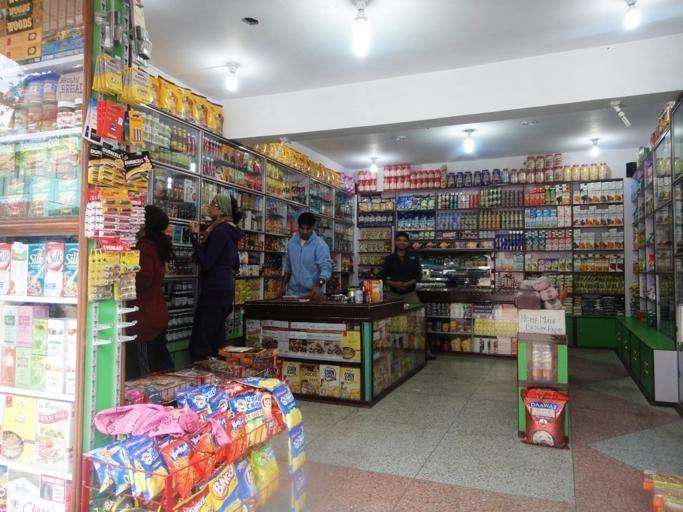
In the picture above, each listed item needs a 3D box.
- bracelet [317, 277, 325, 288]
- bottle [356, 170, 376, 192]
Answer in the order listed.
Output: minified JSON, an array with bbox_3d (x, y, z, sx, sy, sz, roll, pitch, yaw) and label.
[{"bbox_3d":[-0.255,0.318,5.794,0.099,0.116,0.101,4,5,40],"label":"bracelet"},{"bbox_3d":[0.530,-1.614,10.355,0.429,0.420,0.438,1,0,3],"label":"bottle"}]
